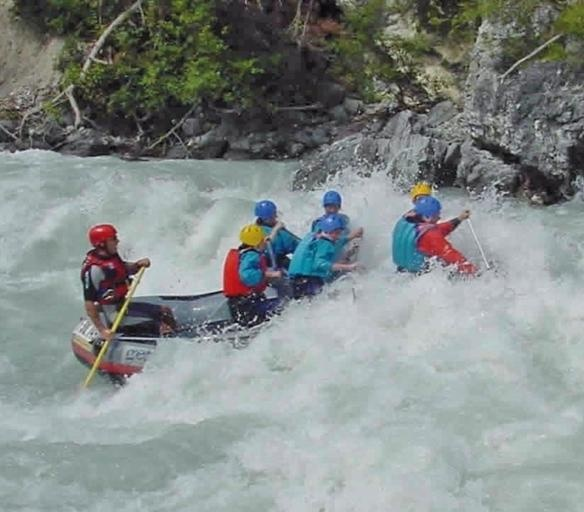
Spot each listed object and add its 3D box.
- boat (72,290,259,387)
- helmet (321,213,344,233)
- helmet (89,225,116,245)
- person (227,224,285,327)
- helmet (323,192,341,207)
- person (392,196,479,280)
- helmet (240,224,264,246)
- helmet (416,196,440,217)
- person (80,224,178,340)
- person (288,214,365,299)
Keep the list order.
[{"bbox_3d":[-2.154,1.255,17.548,3.133,0.843,1.335,-11,36,-9],"label":"boat"},{"bbox_3d":[0.708,-0.547,18.203,0.383,0.286,0.272,-25,27,7],"label":"helmet"},{"bbox_3d":[-3.153,-0.347,17.392,0.418,0.312,0.302,-30,13,4],"label":"helmet"},{"bbox_3d":[-0.596,0.377,18.050,0.804,1.759,0.767,-25,47,-21],"label":"person"},{"bbox_3d":[0.735,-1.054,18.950,0.234,0.284,0.295,2,20,10],"label":"helmet"},{"bbox_3d":[2.333,-0.169,18.118,0.702,1.289,1.442,-15,49,-27],"label":"person"},{"bbox_3d":[-0.661,-0.352,17.878,0.419,0.313,0.365,10,42,-3],"label":"helmet"},{"bbox_3d":[2.375,-0.863,18.168,0.402,0.314,0.297,-5,45,-20],"label":"helmet"},{"bbox_3d":[-2.841,0.512,18.211,1.083,1.680,1.068,-13,46,-2],"label":"person"},{"bbox_3d":[0.647,0.056,18.409,1.046,1.263,0.640,-16,54,-17],"label":"person"}]
